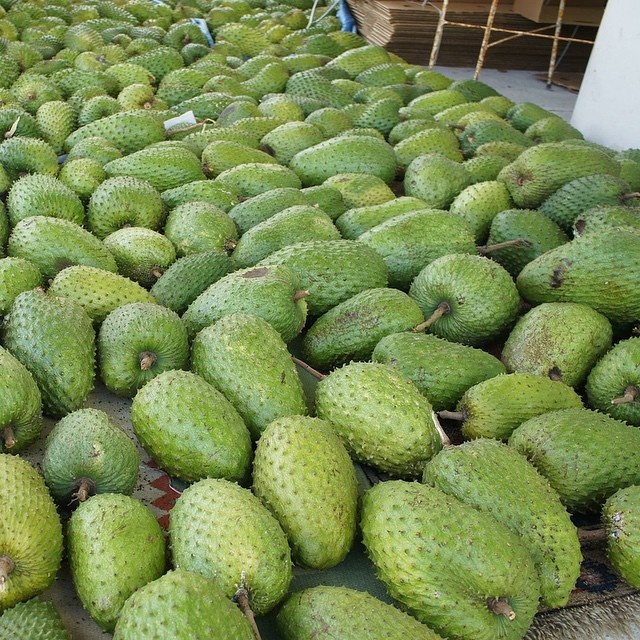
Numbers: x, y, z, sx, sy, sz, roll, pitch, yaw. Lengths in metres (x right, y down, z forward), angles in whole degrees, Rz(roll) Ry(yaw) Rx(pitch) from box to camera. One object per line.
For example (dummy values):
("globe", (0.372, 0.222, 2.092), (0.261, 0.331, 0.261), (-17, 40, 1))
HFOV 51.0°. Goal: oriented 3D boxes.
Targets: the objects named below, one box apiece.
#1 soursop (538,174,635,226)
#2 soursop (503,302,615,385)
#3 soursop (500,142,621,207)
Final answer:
("soursop", (1.451, -0.671, 3.734), (0.459, 0.235, 0.281), (-18, 3, 21))
("soursop", (0.982, 0.102, 2.842), (0.445, 0.243, 0.324), (-18, 13, 5))
("soursop", (1.379, -0.868, 4.080), (0.654, 0.307, 0.375), (-15, 2, -10))
